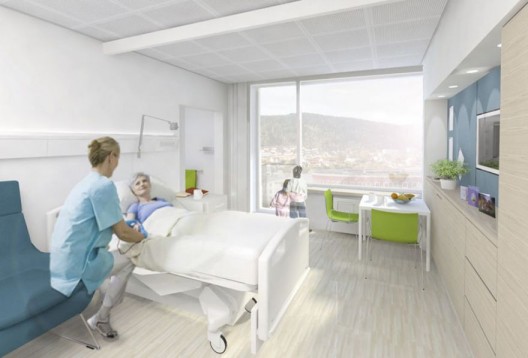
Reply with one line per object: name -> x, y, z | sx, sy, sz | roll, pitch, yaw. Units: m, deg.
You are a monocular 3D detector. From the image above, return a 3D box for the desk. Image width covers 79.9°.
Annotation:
desk -> 1.989, 0.735, 4.862 | 1.056, 1.009, 1.134 | 3, 7, 26

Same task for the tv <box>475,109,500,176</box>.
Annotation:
tv -> 2.483, -0.406, 3.499 | 0.236, 0.730, 0.760 | 0, 4, 30

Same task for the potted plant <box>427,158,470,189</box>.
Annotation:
potted plant -> 2.512, -0.069, 4.327 | 0.465, 0.450, 0.361 | 1, -1, 19

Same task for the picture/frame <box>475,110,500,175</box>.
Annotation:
picture/frame -> 2.492, -0.408, 3.519 | 0.238, 0.719, 0.752 | 0, 4, 32

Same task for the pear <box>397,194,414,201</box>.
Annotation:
pear -> 2.133, 0.298, 4.845 | 0.169, 0.063, 0.163 | -3, 2, -19

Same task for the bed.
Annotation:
bed -> -0.769, 0.761, 3.587 | 2.279, 1.009, 1.825 | 5, 9, 22

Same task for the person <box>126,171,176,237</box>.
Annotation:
person -> -1.505, 0.309, 4.071 | 0.521, 0.294, 0.738 | -7, 31, -39

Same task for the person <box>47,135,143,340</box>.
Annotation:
person -> -1.640, 0.818, 3.118 | 0.836, 1.759, 0.411 | -6, 8, -29
